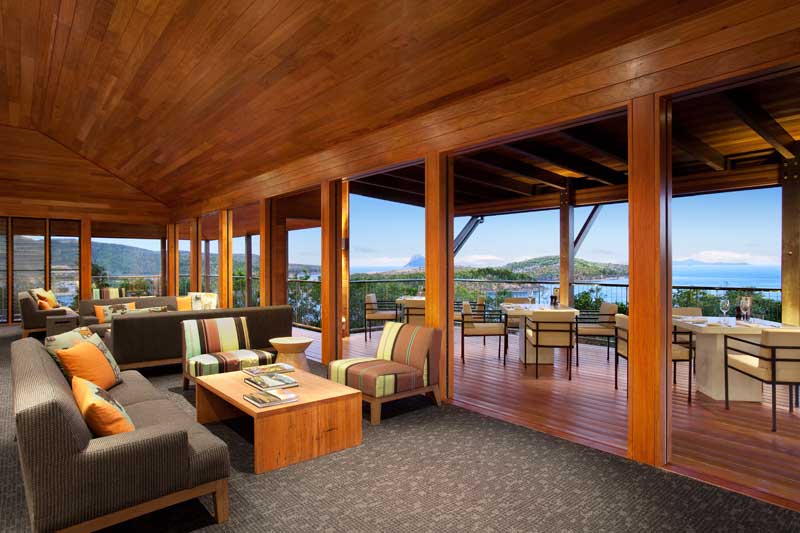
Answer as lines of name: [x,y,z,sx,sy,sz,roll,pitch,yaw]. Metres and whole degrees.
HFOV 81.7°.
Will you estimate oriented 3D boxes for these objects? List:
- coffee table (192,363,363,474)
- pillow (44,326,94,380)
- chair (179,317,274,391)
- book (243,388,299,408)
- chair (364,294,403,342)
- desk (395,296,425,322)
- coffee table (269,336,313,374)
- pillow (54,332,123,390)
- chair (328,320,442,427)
coffee table: [-1.343,1.446,4.830,1.089,0.443,1.546,-1,3,-43]
pillow: [-3.295,0.788,4.443,0.133,0.416,0.450,-41,-15,4]
chair: [-2.232,1.092,5.991,0.930,0.689,0.673,-3,12,-34]
book: [-1.233,1.212,4.350,0.425,0.054,0.372,8,13,43]
chair: [-0.342,0.964,9.350,0.899,0.743,0.858,1,0,-24]
desk: [0.189,0.754,8.380,0.498,0.414,0.681,-2,2,-18]
coffee table: [-1.263,1.018,5.583,0.470,0.314,0.469,0,0,37]
pillow: [-2.999,0.900,4.407,0.351,0.516,0.715,-2,-4,4]
chair: [-0.209,1.142,5.497,1.201,0.782,1.144,2,4,34]
